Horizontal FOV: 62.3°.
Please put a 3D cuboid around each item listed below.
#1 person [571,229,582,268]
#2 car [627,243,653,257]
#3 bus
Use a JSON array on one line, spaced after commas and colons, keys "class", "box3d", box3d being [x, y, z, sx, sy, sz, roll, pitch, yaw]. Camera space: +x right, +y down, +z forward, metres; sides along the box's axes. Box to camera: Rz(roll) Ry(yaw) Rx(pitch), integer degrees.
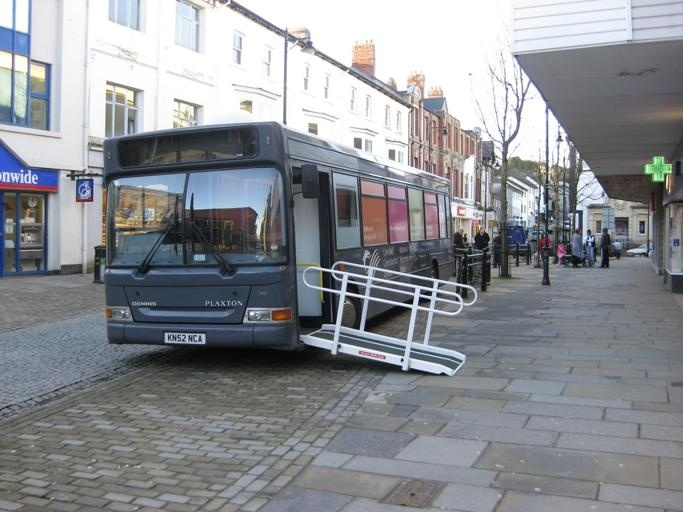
[{"class": "person", "box3d": [13.208, -0.442, 31.530, 0.461, 2.085, 1.417, 1, 3, 22]}, {"class": "car", "box3d": [29.071, -0.602, 54.853, 1.805, 1.175, 2.631, 1, 3, 30]}, {"class": "bus", "box3d": [-0.124, -0.195, 10.098, 3.831, 3.618, 7.005, 2, 3, 37]}]
